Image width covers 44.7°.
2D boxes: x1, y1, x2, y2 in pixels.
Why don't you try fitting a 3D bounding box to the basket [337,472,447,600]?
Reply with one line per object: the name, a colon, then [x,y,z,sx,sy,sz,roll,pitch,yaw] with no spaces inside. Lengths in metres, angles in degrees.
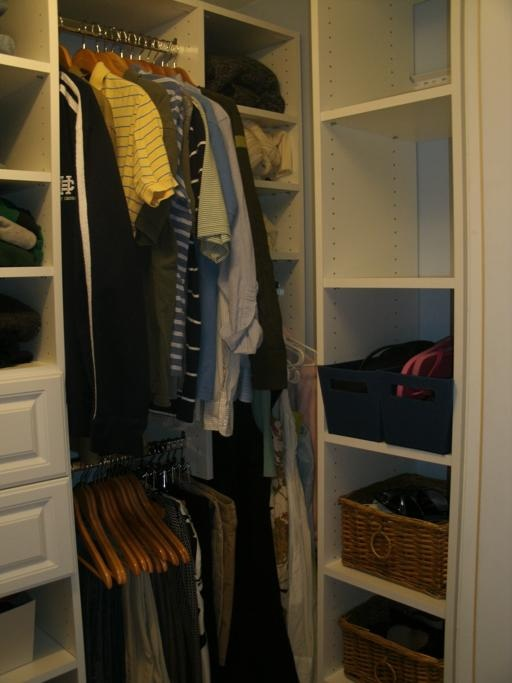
basket: [0.327,0.525,1.565,0.277,0.145,0.304,14,-16,6]
